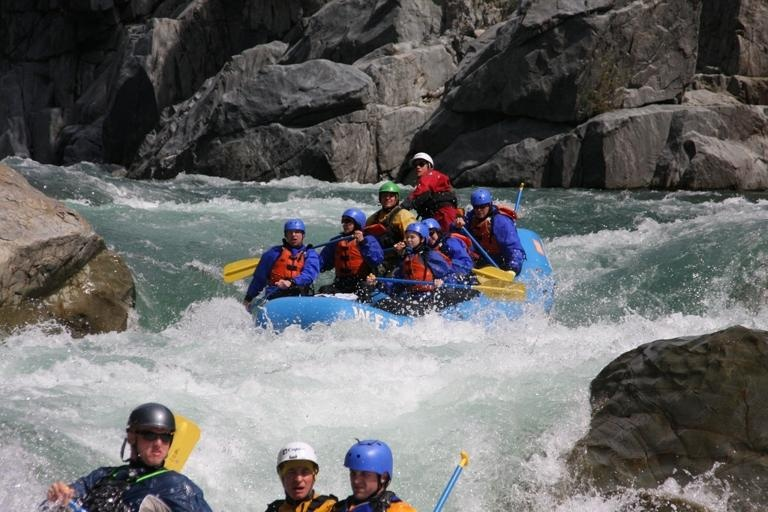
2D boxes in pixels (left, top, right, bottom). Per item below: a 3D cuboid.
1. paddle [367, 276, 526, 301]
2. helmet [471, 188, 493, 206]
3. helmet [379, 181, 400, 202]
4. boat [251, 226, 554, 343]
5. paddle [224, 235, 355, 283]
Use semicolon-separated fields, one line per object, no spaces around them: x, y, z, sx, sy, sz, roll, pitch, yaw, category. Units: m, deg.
1.181;0.571;21.086;2.733;0.404;0.154;6;1;-5;paddle
1.859;-1.129;22.188;0.363;0.374;0.442;-12;-13;6;helmet
0.096;-1.241;22.022;0.309;0.326;0.388;1;1;8;helmet
0.689;0.785;21.156;4.334;1.415;2.208;-7;11;-7;boat
-1.775;0.077;21.836;2.007;0.354;0.163;-21;-14;-3;paddle
